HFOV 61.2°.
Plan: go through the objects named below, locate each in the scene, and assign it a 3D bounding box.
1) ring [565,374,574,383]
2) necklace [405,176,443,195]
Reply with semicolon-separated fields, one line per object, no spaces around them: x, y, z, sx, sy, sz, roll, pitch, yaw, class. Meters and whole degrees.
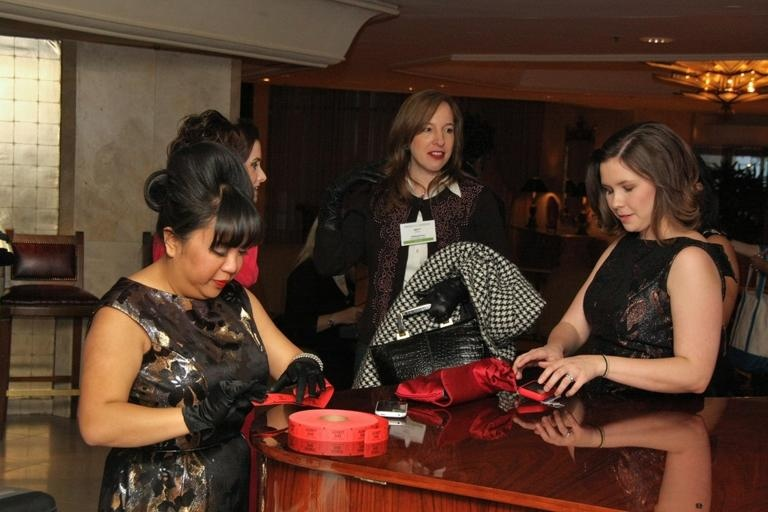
0.699;0.454;2.439;0.006;0.026;0.026;-24;26;-8;ring
0.221;-0.377;3.584;0.136;0.047;0.119;5;10;-9;necklace
